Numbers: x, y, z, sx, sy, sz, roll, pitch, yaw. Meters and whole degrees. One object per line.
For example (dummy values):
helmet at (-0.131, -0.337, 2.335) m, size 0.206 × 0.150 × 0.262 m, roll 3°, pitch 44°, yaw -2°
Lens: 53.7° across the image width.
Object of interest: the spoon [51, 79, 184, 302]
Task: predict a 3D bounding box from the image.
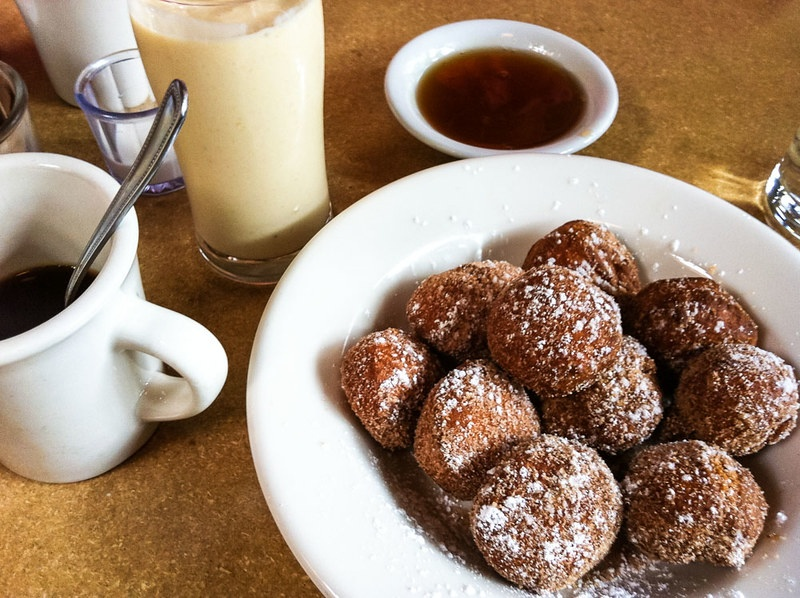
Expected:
spoon at (-0.369, -0.137, 1.051) m, size 0.050 × 0.049 × 0.365 m, roll 24°, pitch 82°, yaw 6°

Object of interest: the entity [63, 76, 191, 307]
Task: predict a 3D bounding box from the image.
entity at (-0.357, -0.135, 1.050) m, size 0.053 × 0.049 × 0.378 m, roll 30°, pitch 83°, yaw -25°
